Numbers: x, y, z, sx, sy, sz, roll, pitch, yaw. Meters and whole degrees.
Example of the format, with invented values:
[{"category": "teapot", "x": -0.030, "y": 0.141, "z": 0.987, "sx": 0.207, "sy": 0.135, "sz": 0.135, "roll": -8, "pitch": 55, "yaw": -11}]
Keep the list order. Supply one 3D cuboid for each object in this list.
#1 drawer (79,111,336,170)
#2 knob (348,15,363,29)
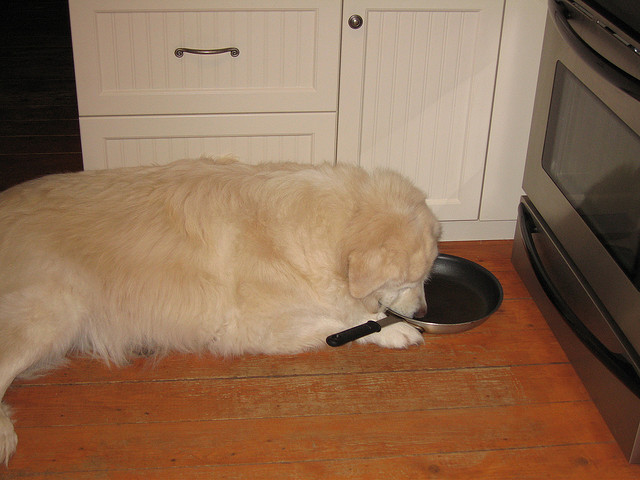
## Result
[{"category": "drawer", "x": -0.520, "y": -0.478, "z": 2.478, "sx": 1.117, "sy": 0.307, "sz": 0.482, "roll": -4, "pitch": 27, "yaw": -11}, {"category": "knob", "x": 0.155, "y": -0.951, "z": 2.322, "sx": 0.057, "sy": 0.046, "sz": 0.036, "roll": 2, "pitch": 17, "yaw": 5}]
